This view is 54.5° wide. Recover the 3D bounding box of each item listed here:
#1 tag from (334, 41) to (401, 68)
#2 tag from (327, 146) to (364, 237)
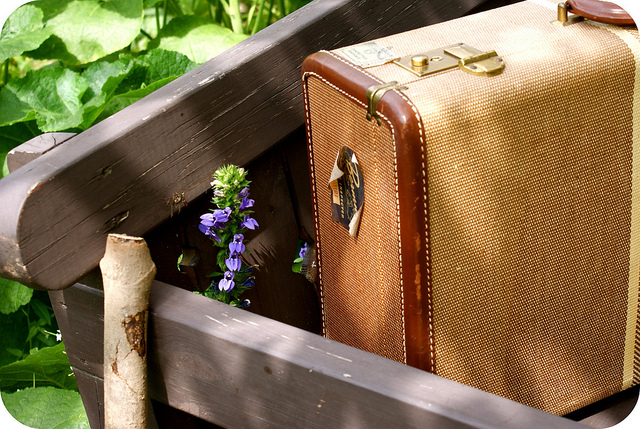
[{"bbox_3d":[0.112,-0.371,1.435,0.089,0.006,0.097,-19,39,-21],"label":"tag"},{"bbox_3d":[0.064,-0.064,1.472,0.021,0.202,0.160,-13,25,-22],"label":"tag"}]
